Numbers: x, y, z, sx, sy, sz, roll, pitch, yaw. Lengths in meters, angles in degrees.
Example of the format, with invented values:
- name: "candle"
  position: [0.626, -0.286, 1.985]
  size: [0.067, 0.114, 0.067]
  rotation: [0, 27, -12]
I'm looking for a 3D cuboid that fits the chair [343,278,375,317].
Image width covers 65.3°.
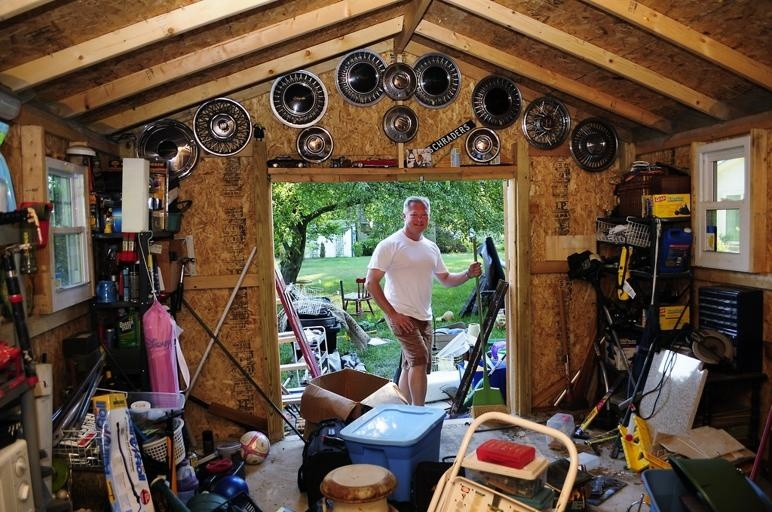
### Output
- name: "chair"
  position: [-0.499, 0.561, 11.652]
  size: [0.586, 0.609, 0.758]
  rotation: [12, 37, -7]

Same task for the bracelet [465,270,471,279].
- name: "bracelet"
  position: [0.823, 0.186, 6.062]
  size: [0.020, 0.063, 0.062]
  rotation: [-28, 41, -5]

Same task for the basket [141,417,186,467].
- name: "basket"
  position: [-1.704, 1.436, 4.624]
  size: [0.277, 0.237, 0.316]
  rotation: [-7, -10, 17]

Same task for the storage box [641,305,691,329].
- name: "storage box"
  position: [2.796, 0.589, 5.985]
  size: [0.417, 0.240, 0.302]
  rotation: [-2, -2, 4]

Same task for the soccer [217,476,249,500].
- name: "soccer"
  position: [-1.217, 1.807, 4.708]
  size: [0.240, 0.130, 0.173]
  rotation: [-2, 3, -21]

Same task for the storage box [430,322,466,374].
- name: "storage box"
  position: [0.770, 1.101, 7.849]
  size: [0.478, 0.685, 0.365]
  rotation: [-2, 32, -6]

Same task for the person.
- name: "person"
  position: [0.303, 0.462, 6.059]
  size: [1.007, 2.130, 0.545]
  rotation: [-2, 3, -21]

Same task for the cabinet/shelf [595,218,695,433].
- name: "cabinet/shelf"
  position: [2.542, 0.572, 5.878]
  size: [0.859, 1.885, 1.129]
  rotation: [0, 2, 18]

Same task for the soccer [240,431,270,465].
- name: "soccer"
  position: [-1.214, 1.755, 5.543]
  size: [0.254, 0.291, 0.257]
  rotation: [3, -5, -38]

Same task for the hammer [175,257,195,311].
- name: "hammer"
  position: [-1.951, 0.237, 5.761]
  size: [0.188, 0.547, 0.079]
  rotation: [-7, -31, 5]

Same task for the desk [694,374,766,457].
- name: "desk"
  position: [3.095, 1.377, 5.527]
  size: [0.623, 0.655, 0.670]
  rotation: [-1, 1, 12]

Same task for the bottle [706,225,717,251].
- name: "bottle"
  position: [3.117, -0.176, 5.733]
  size: [0.096, 0.245, 0.025]
  rotation: [1, 3, 42]

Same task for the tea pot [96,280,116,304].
- name: "tea pot"
  position: [-2.421, 0.313, 5.176]
  size: [0.132, 0.200, 0.205]
  rotation: [3, 1, 16]

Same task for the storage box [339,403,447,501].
- name: "storage box"
  position: [0.092, 1.506, 4.708]
  size: [0.642, 0.450, 0.857]
  rotation: [-3, 2, 29]

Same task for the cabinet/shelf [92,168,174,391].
- name: "cabinet/shelf"
  position: [-2.244, 0.182, 5.226]
  size: [0.702, 2.025, 0.401]
  rotation: [0, 3, 24]
